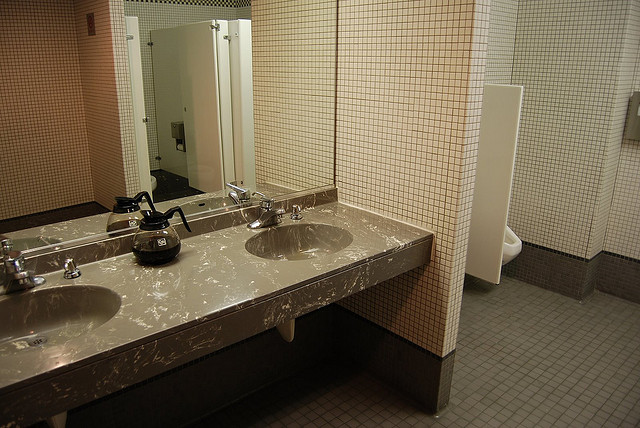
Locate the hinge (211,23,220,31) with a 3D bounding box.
[{"bbox_3d":[-0.576,-1.027,2.587,0.043,0.043,0.034,-4,15,-25],"label":"hinge"}]

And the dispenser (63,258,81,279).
[{"bbox_3d":[-1.174,0.263,2.257,0.084,0.086,0.083,-12,17,-40],"label":"dispenser"}]

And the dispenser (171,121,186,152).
[{"bbox_3d":[-0.762,-0.423,2.544,0.086,0.161,0.040,-21,33,-34],"label":"dispenser"}]

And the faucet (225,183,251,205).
[{"bbox_3d":[-0.484,-0.118,2.802,0.140,0.087,0.085,28,30,7],"label":"faucet"}]

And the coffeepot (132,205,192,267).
[{"bbox_3d":[-0.791,0.106,2.380,0.297,0.277,0.204,-10,18,-39],"label":"coffeepot"}]

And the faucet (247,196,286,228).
[{"bbox_3d":[-0.314,-0.018,2.746,0.109,0.165,0.301,15,19,39],"label":"faucet"}]

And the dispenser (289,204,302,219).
[{"bbox_3d":[-0.142,-0.018,2.862,0.077,0.086,0.078,7,30,9],"label":"dispenser"}]
